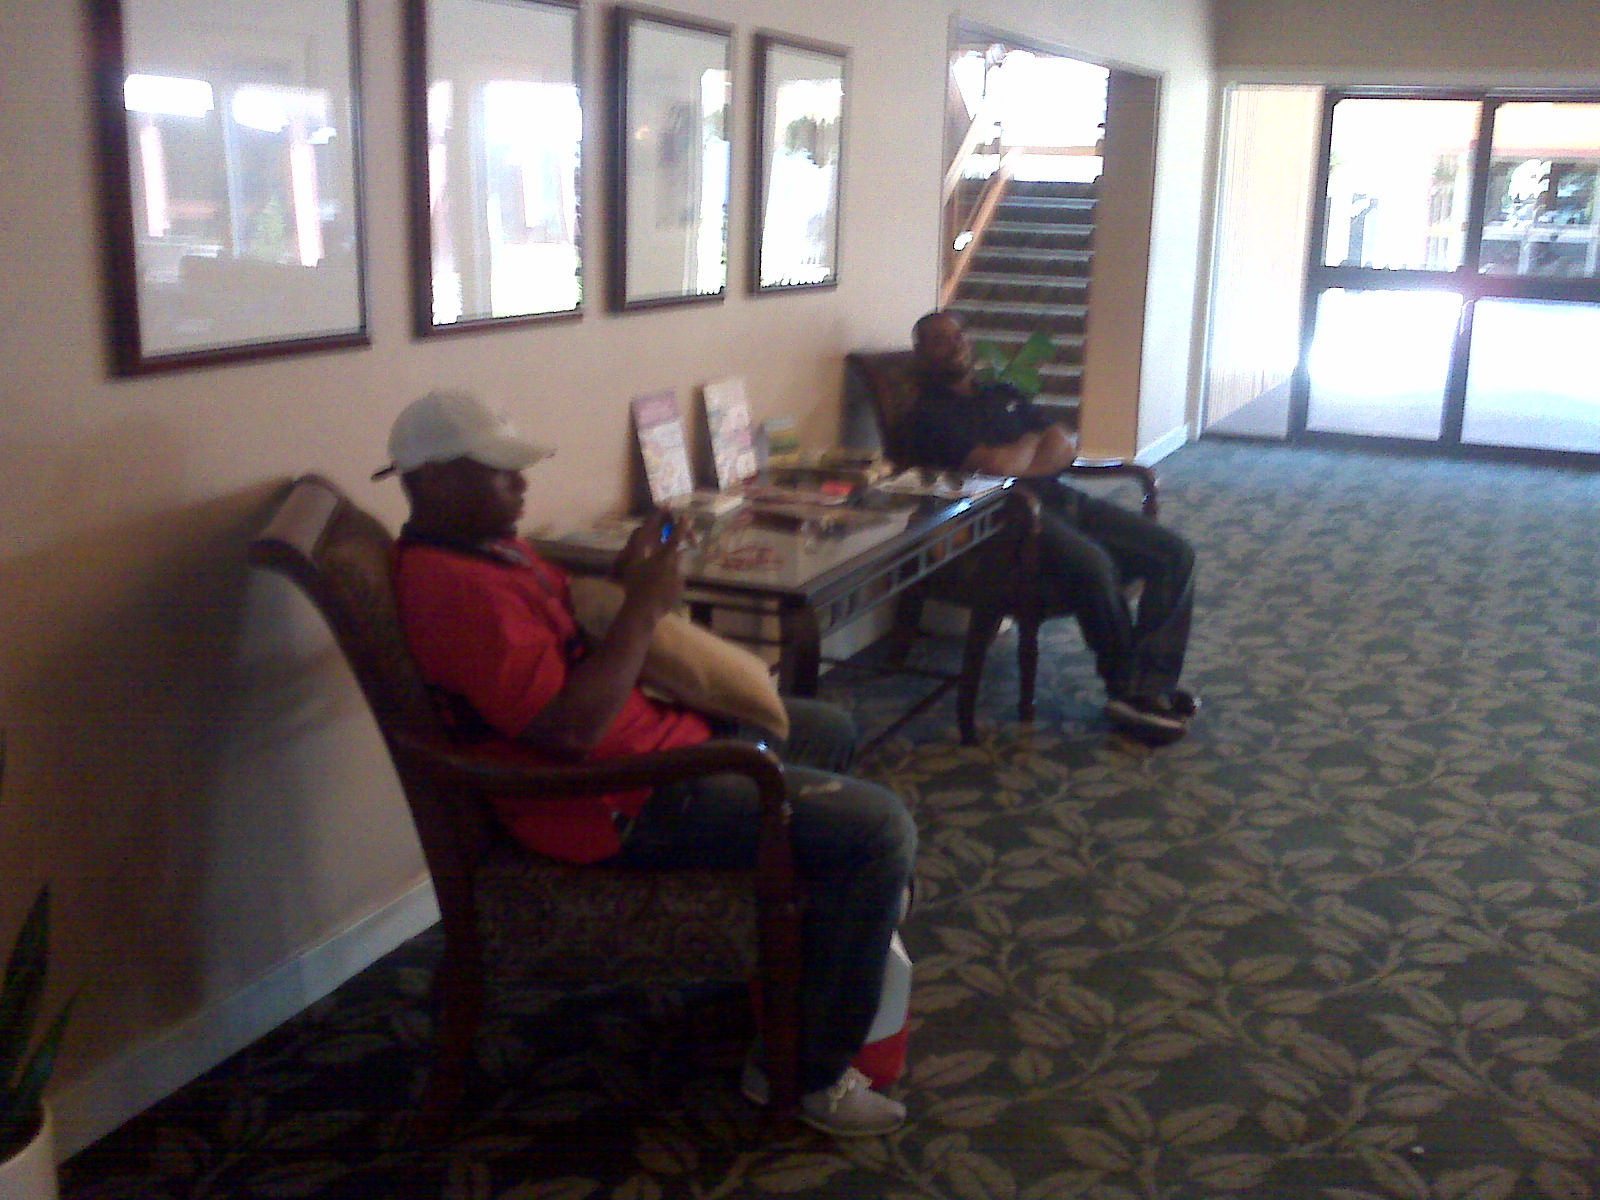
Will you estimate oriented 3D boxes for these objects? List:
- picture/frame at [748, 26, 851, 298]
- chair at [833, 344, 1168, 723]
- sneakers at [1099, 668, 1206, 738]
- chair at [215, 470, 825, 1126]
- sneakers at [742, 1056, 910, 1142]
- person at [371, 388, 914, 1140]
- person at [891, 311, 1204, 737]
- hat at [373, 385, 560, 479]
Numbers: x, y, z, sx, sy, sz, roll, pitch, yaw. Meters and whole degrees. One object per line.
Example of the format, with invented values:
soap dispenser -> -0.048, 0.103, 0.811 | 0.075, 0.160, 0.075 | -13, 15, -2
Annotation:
picture/frame -> -0.013, -1.380, 4.065 | 0.056, 0.797, 0.822 | 11, 17, 24
chair -> 0.676, -0.368, 5.009 | 1.300, 1.667, 1.095 | 11, 17, 36
sneakers -> 1.202, 0.340, 4.287 | 0.361, 0.173, 0.228 | -4, 18, -10
chair -> -0.377, 0.246, 2.823 | 1.139, 1.312, 0.866 | -1, 14, 0
sneakers -> 0.053, 0.992, 2.625 | 0.322, 0.124, 0.125 | 2, 10, 9
person -> -0.338, 0.303, 2.709 | 1.026, 1.369, 0.735 | -1, 6, -19
person -> 0.809, -0.307, 4.497 | 0.838, 1.488, 0.912 | -12, 6, -43
hat -> -0.629, -0.303, 2.454 | 0.253, 0.132, 0.158 | -6, 16, 1
